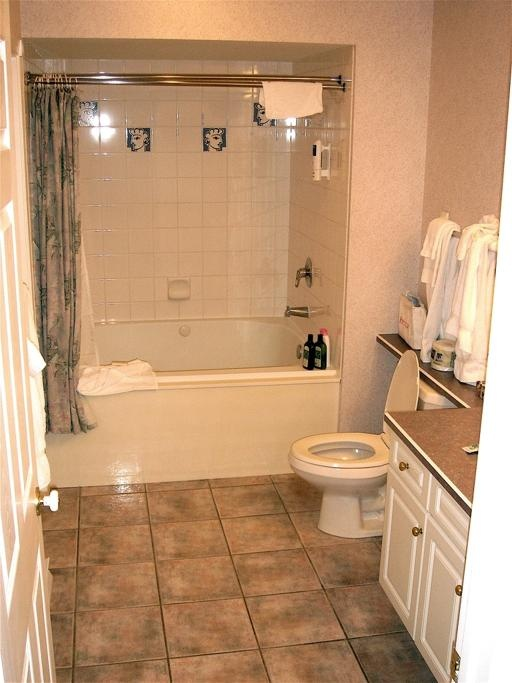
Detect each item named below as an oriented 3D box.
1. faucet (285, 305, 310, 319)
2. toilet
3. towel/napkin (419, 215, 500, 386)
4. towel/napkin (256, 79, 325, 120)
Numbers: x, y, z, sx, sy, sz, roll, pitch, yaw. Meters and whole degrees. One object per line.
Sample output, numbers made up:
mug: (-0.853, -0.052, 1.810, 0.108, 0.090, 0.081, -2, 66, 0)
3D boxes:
faucet: (0.285, -0.182, 3.631, 0.122, 0.053, 0.103, -3, 27, -2)
toilet: (0.522, 0.511, 2.761, 0.684, 0.901, 0.505, 0, 8, -14)
towel/napkin: (0.907, -0.189, 2.427, 0.233, 0.742, 0.592, 2, 13, 6)
towel/napkin: (0.192, -1.321, 2.935, 0.333, 0.195, 0.117, -1, 13, -7)
